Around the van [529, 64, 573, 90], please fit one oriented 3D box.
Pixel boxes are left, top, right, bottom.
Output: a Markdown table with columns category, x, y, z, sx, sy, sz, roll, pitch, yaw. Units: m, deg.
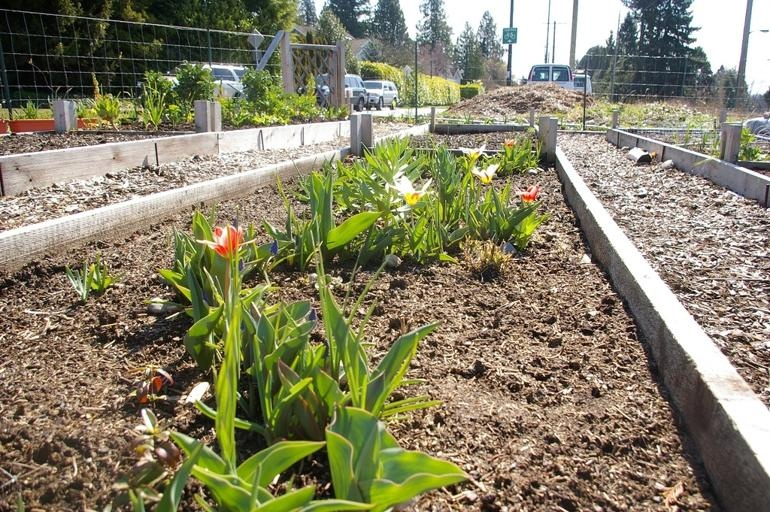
| category | x | y | z | sx | sy | sz | roll | pitch | yaw |
| --- | --- | --- | --- | --- | --- | --- | --- | --- | --- |
| van | 6.580 | -7.217 | 21.669 | 1.697 | 0.909 | 3.312 | 8 | 20 | 15 |

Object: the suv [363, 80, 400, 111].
| category | x | y | z | sx | sy | sz | roll | pitch | yaw |
| --- | --- | --- | --- | --- | --- | --- | --- | --- | --- |
| suv | -0.307 | -7.630 | 25.702 | 1.181 | 1.081 | 2.367 | 4 | 15 | 15 |
